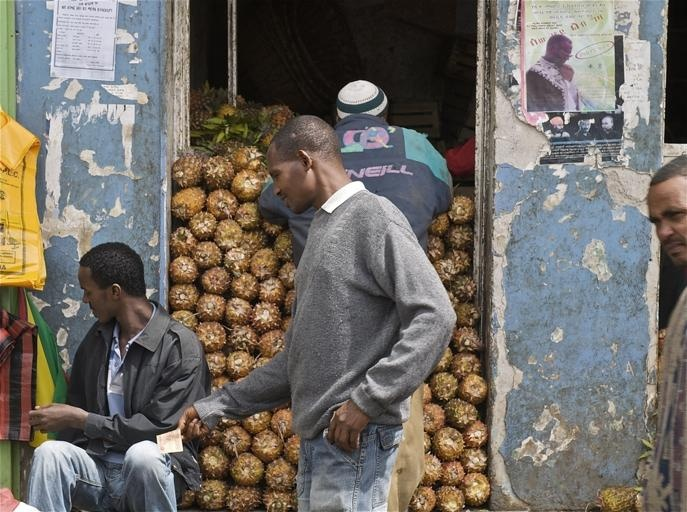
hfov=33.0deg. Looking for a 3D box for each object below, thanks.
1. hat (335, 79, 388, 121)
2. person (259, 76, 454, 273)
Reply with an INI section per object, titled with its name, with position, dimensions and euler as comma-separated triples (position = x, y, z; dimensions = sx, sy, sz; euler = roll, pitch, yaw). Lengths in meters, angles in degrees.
[hat]
position = 0.122, -1.147, 8.495
dimensions = 0.350, 0.269, 0.266
euler = -16, 33, 4
[person]
position = 0.366, -0.561, 8.398
dimensions = 1.081, 1.381, 0.457
euler = 5, -1, 10
